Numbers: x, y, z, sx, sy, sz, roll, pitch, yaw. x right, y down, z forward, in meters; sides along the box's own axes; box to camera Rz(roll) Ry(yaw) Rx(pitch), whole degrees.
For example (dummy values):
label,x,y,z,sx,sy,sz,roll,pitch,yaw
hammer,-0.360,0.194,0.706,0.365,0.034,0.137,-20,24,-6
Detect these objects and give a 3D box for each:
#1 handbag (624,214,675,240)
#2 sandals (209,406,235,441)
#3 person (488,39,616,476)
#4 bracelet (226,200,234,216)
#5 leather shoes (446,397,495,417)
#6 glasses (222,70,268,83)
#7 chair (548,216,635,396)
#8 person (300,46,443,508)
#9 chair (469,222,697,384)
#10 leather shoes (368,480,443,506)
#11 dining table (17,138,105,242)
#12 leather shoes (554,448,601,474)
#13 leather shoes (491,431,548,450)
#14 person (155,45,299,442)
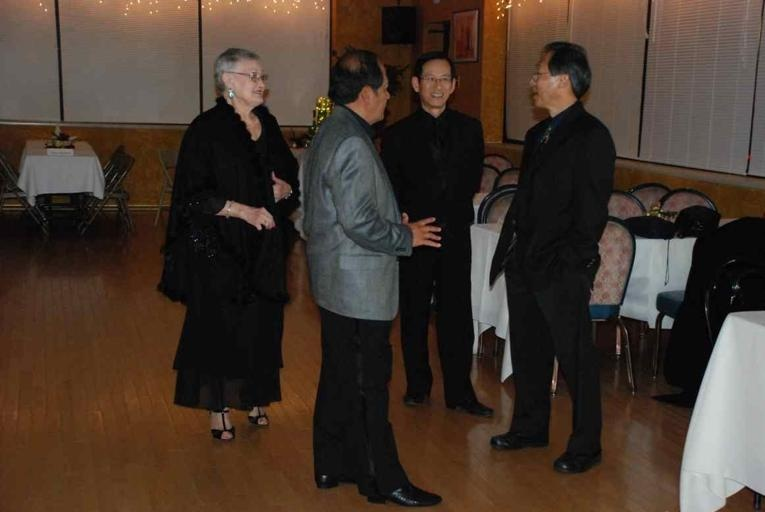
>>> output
label,x,y,z,sx,sy,sz,roll,pitch,yaw
handbag,1.993,-0.217,4.575,0.279,0.106,0.260,-2,8,-13
sandals,-0.982,1.033,3.777,0.193,0.205,0.127,1,6,4
person,0.971,0.002,3.491,0.745,2.353,0.484,10,16,32
bracelet,-0.839,-0.267,3.381,0.041,0.077,0.042,1,14,0
leather shoes,0.597,1.012,4.151,0.317,0.144,0.123,3,2,17
glasses,-0.724,-1.010,3.429,0.122,0.052,0.265,13,19,36
chair,1.399,0.289,4.304,0.612,1.128,0.669,6,2,34
person,-0.077,0.151,3.068,0.679,2.267,0.412,1,13,-2
chair,1.457,0.135,4.780,1.277,1.023,1.321,0,7,-11
leather shoes,0.118,1.238,3.204,0.392,0.123,0.149,-1,7,-1
dining table,-5.026,-1.360,9.209,1.191,0.620,1.971,-7,22,-39
leather shoes,1.106,1.148,3.513,0.260,0.117,0.113,-1,9,-23
leather shoes,0.825,1.095,3.744,0.326,0.151,0.126,3,4,-10
person,-0.893,-0.018,3.581,0.807,2.288,0.395,-1,14,-9
